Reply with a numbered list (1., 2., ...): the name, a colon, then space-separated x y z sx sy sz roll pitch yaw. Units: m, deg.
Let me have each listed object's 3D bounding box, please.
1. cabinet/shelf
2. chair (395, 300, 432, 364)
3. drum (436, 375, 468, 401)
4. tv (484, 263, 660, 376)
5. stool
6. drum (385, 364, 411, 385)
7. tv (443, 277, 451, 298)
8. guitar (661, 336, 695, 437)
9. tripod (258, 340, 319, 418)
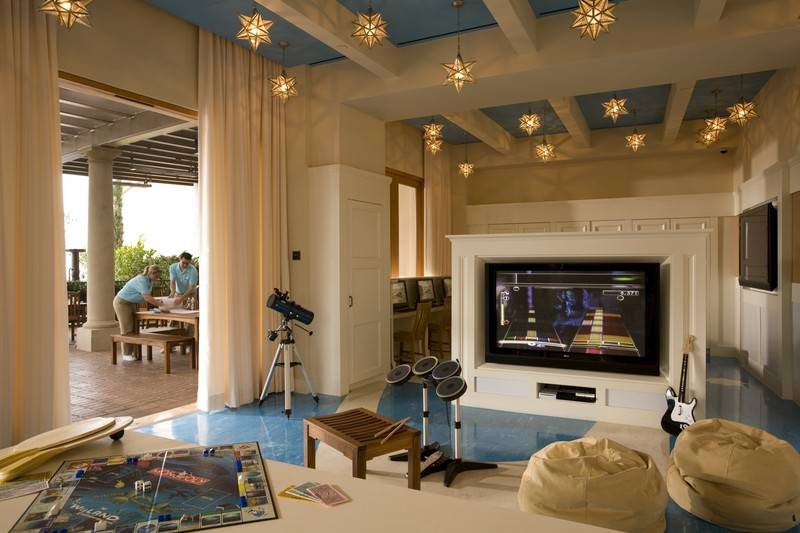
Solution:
1. cabinet/shelf: 1.777 1.430 5.928 2.076 0.482 0.189 1 -2 17
2. chair: 0.192 1.056 8.348 0.564 1.013 1.351 2 -2 2
3. drum: 0.410 1.016 4.372 0.224 0.191 0.294 2 -2 3
4. tv: 1.967 0.604 5.917 1.472 0.900 0.074 0 1 23
5. stool: -0.290 1.281 4.049 0.640 0.616 0.868 -2 4 -40
6. drum: -0.003 0.947 4.579 0.198 0.171 0.244 2 -2 3
7. tv: 0.817 0.405 9.490 0.033 0.403 0.385 -4 -4 35
8. guitar: 2.812 1.214 5.433 0.323 1.011 0.285 1 -2 39
9. tripod: -1.285 1.280 6.359 0.652 0.783 1.239 3 -2 -9
